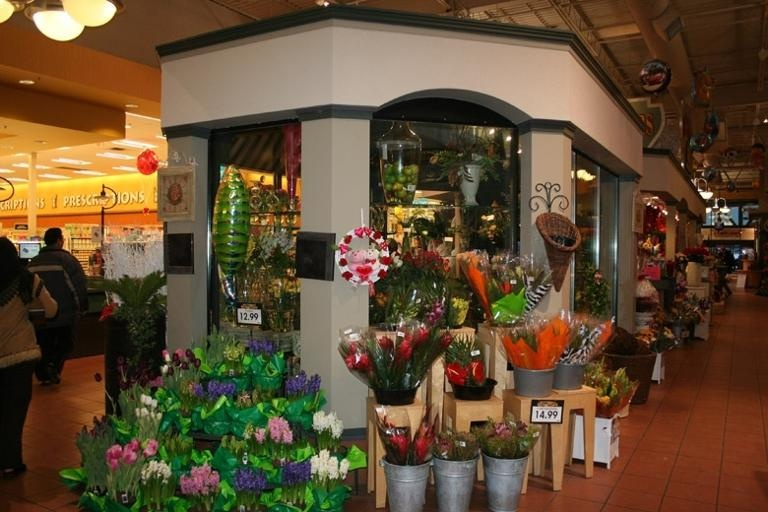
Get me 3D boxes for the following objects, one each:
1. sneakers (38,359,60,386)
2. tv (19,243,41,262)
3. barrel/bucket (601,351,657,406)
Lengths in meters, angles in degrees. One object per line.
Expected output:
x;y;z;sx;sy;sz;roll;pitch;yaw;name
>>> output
-4.587;1.582;7.936;0.205;0.423;0.279;0;0;-10;sneakers
-6.417;-0.066;10.455;0.264;0.319;0.325;-6;-4;42;tv
3.044;1.475;7.246;0.651;0.616;0.625;1;-2;0;barrel/bucket
